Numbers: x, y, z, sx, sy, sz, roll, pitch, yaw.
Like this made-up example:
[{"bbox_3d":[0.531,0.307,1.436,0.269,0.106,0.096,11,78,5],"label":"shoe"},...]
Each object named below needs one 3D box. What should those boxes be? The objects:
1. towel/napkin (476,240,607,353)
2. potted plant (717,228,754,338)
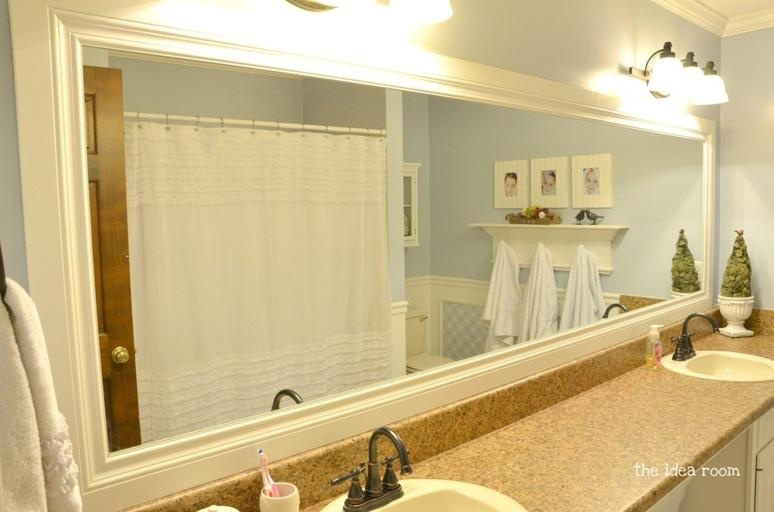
[{"bbox_3d":[0.648,0.176,2.362,0.544,0.460,0.096,-1,2,-30],"label":"towel/napkin"},{"bbox_3d":[2.139,0.173,3.311,0.213,0.630,0.193,-10,16,-40],"label":"potted plant"}]
